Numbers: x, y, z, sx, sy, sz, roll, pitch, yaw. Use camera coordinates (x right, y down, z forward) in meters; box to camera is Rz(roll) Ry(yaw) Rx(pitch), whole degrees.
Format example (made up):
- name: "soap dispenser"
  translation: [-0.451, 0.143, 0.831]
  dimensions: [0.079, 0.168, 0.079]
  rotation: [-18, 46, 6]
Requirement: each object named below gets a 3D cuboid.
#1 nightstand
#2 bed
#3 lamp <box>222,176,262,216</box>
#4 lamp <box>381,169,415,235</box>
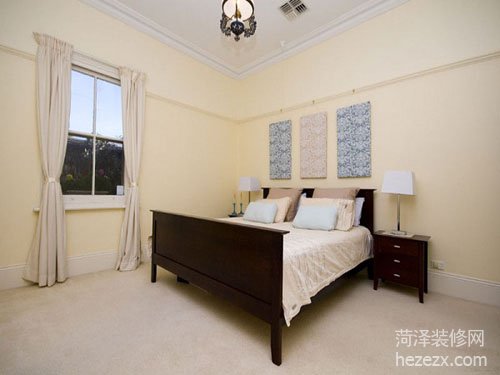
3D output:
- name: "nightstand"
  translation: [1.900, 0.967, 4.594]
  dimensions: [0.838, 1.174, 0.670]
  rotation: [-3, -6, 35]
- name: "bed"
  translation: [0.220, 0.776, 4.348]
  dimensions: [1.815, 1.227, 1.814]
  rotation: [-2, -4, 41]
- name: "lamp"
  translation: [-0.232, 0.148, 6.027]
  dimensions: [0.693, 1.000, 0.547]
  rotation: [4, 3, 43]
- name: "lamp"
  translation: [1.997, 0.193, 4.433]
  dimensions: [0.374, 0.826, 0.453]
  rotation: [4, 3, 41]
